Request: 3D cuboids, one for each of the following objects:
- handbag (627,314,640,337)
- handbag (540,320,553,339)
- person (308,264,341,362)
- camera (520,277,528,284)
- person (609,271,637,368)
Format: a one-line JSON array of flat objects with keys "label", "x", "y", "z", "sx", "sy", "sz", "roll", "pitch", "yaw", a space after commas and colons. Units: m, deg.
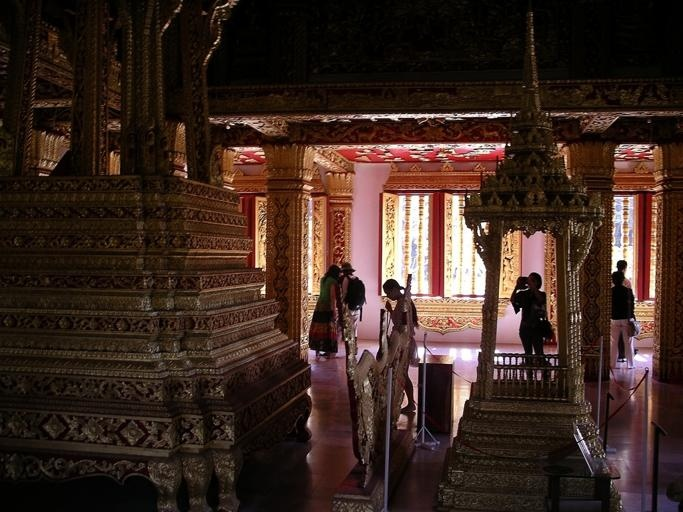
[{"label": "handbag", "x": 4.615, "y": 1.111, "z": 10.763, "sx": 0.133, "sy": 0.317, "sz": 0.360, "roll": 0, "pitch": -2, "yaw": 29}, {"label": "handbag", "x": 2.446, "y": 0.869, "z": 8.123, "sx": 0.158, "sy": 0.217, "sz": 0.059, "roll": -8, "pitch": -11, "yaw": 43}, {"label": "person", "x": -0.267, "y": 0.925, "z": 11.496, "sx": 0.508, "sy": 1.533, "sz": 0.781, "roll": 1, "pitch": -2, "yaw": -3}, {"label": "camera", "x": 2.196, "y": 0.295, "z": 8.204, "sx": 0.110, "sy": 0.101, "sz": 0.027, "roll": -5, "pitch": -5, "yaw": 29}, {"label": "person", "x": 4.451, "y": 0.986, "z": 10.807, "sx": 0.357, "sy": 1.504, "sz": 0.765, "roll": 0, "pitch": -2, "yaw": 21}]
